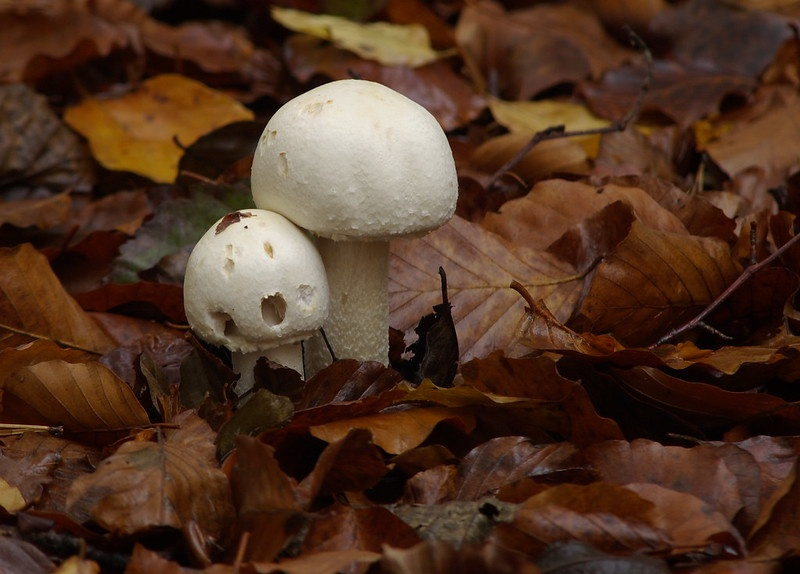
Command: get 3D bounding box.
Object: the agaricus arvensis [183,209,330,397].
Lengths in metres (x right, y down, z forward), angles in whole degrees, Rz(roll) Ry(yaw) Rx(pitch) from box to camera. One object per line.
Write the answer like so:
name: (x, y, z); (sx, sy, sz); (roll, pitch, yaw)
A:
agaricus arvensis: (-0.451, -0.022, 2.966); (0.435, 0.184, 0.424); (-20, 78, -11)
